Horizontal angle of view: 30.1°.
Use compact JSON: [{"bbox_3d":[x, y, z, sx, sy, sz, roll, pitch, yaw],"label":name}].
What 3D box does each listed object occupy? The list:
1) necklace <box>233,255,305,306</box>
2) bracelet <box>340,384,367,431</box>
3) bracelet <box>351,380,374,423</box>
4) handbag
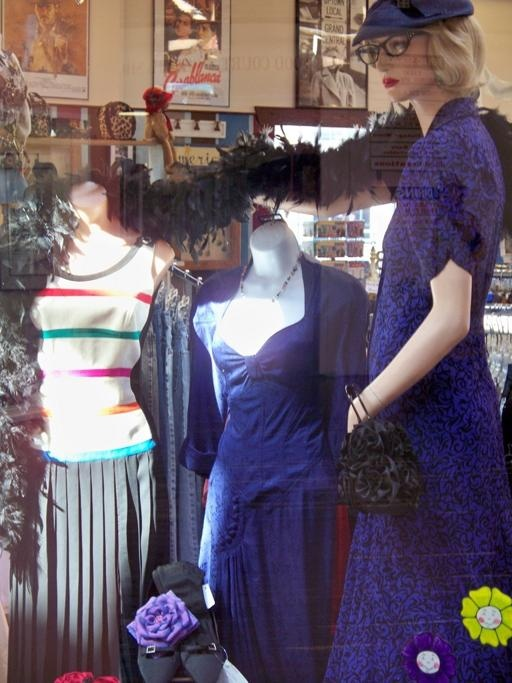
[{"bbox_3d":[0.023,-0.106,1.618,0.100,0.077,0.022,6,8,12],"label":"necklace"},{"bbox_3d":[0.164,0.110,1.595,0.036,0.072,0.013,-24,-18,33],"label":"bracelet"},{"bbox_3d":[0.179,0.104,1.612,0.021,0.075,0.017,-27,-22,27],"label":"bracelet"},{"bbox_3d":[0.196,0.166,1.585,0.112,0.216,0.076,-8,0,15],"label":"handbag"}]
